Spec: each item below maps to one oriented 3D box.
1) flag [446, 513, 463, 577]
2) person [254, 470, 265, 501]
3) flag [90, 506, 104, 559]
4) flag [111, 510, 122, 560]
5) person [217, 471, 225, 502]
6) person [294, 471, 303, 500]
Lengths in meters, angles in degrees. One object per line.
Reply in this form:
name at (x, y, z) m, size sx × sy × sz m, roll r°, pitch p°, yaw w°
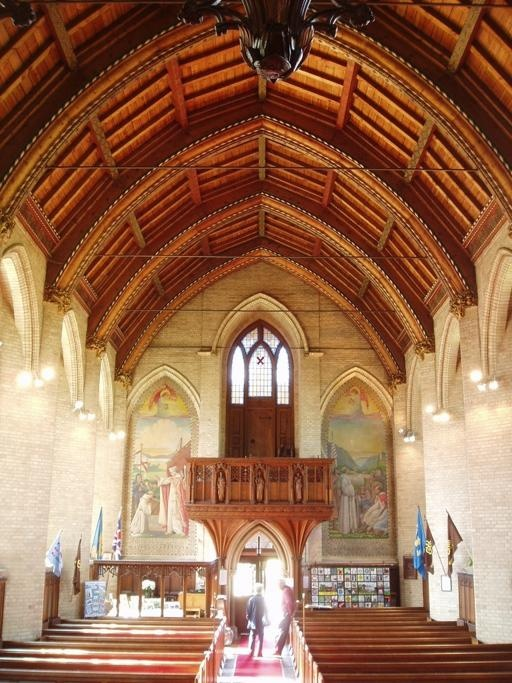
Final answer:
flag at (4.771, 4.938, 14.325) m, size 0.353 × 1.415 × 1.205 m, roll -5°, pitch -20°, yaw 16°
person at (0.118, 4.551, 18.537) m, size 0.276 × 0.977 × 0.123 m, roll 1°, pitch -19°, yaw -1°
flag at (-4.880, 5.888, 18.273) m, size 0.332 × 1.519 × 2.091 m, roll 5°, pitch -19°, yaw -14°
flag at (-4.622, 6.474, 19.701) m, size 0.278 × 1.442 × 0.390 m, roll 7°, pitch -20°, yaw -18°
person at (-1.105, 4.538, 18.594) m, size 0.302 × 0.995 × 0.131 m, roll 1°, pitch -19°, yaw -1°
person at (1.324, 4.567, 18.554) m, size 0.253 × 0.914 × 0.146 m, roll 1°, pitch -19°, yaw -2°
